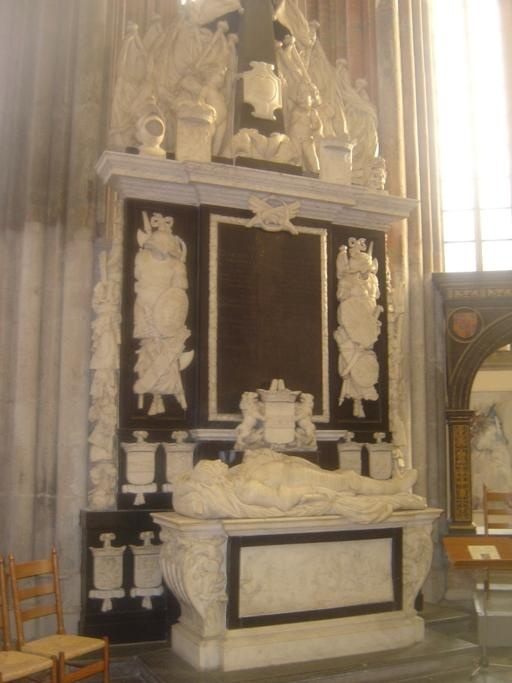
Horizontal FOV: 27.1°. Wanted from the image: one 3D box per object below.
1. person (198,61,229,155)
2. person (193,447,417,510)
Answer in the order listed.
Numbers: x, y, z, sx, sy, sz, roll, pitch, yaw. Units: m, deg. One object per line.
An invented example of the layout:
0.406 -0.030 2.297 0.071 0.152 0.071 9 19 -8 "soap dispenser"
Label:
-0.290 -1.689 7.689 0.219 0.699 0.128 -1 -5 -13 "person"
0.410 0.871 6.570 1.072 0.276 0.559 9 -16 -14 "person"
